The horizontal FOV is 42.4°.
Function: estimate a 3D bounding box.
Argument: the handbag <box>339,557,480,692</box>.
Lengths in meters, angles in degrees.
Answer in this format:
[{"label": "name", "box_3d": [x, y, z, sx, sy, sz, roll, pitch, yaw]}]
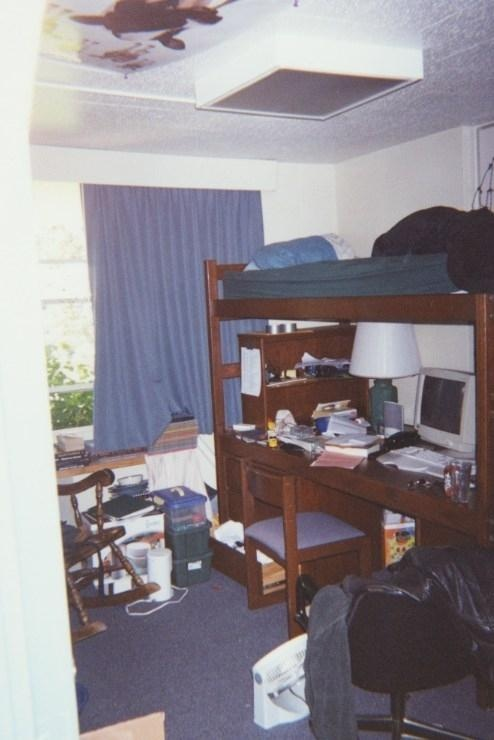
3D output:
[{"label": "handbag", "box_3d": [0.410, 0.690, 1.829, 0.375, 0.367, 0.281, -6, 11, -10]}]

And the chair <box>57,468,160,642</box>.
[{"label": "chair", "box_3d": [-0.765, 0.875, 3.429, 0.441, 0.756, 0.979, -5, 6, -18]}]

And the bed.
[{"label": "bed", "box_3d": [0.412, -0.253, 2.785, 0.528, 0.295, 0.956, -4, 2, -34]}]

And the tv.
[{"label": "tv", "box_3d": [0.881, 0.199, 2.830, 0.193, 0.345, 0.354, 2, -4, -12]}]

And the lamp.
[{"label": "lamp", "box_3d": [0.684, 0.031, 3.205, 0.328, 0.559, 0.360, -4, 6, -10]}]

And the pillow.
[{"label": "pillow", "box_3d": [0.265, -0.618, 3.346, 0.353, 0.090, 0.297, -14, 17, 18]}]
